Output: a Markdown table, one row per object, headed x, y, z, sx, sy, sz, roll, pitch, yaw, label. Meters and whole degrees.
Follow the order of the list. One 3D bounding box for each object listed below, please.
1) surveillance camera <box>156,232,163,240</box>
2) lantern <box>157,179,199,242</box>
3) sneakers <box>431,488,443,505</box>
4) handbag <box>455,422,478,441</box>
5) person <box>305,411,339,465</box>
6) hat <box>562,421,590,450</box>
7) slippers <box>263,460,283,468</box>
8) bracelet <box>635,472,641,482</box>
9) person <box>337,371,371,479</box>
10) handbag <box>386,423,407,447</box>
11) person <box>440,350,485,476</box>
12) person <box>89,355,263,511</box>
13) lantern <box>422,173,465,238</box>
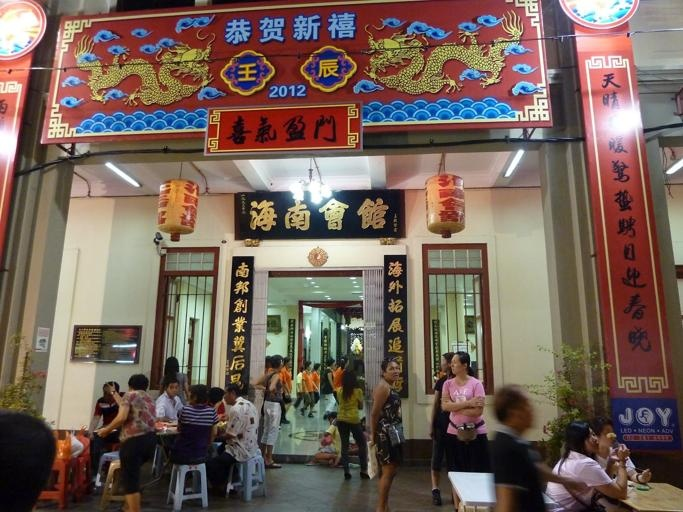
| x | y | z | sx | sy | sz | roll | pitch | yaw | label |
| --- | --- | --- | --- | --- | --- | --- | --- | --- | --- |
| -3.136 | -0.349 | 8.389 | 0.107 | 0.135 | 0.042 | 3 | -3 | -19 | surveillance camera |
| -2.232 | -0.686 | 6.648 | 0.470 | 0.897 | 0.412 | 4 | -16 | -15 | lantern |
| 1.119 | 2.740 | 5.567 | 0.091 | 0.182 | 0.184 | -12 | -19 | 40 | sneakers |
| 1.287 | 1.794 | 4.956 | 0.197 | 0.188 | 0.109 | -3 | -15 | 12 | handbag |
| -0.190 | 2.820 | 7.486 | 0.560 | 0.798 | 0.401 | -4 | -19 | 18 | person |
| 1.758 | 1.353 | 3.695 | 0.197 | 0.189 | 0.179 | -14 | -11 | 38 | hat |
| -0.966 | 3.022 | 7.067 | 0.247 | 0.068 | 0.092 | 0 | -1 | 3 | slippers |
| 2.461 | 1.833 | 4.030 | 0.055 | 0.049 | 0.055 | -2 | 4 | -31 | bracelet |
| 0.154 | 2.277 | 6.671 | 0.409 | 1.436 | 0.852 | 0 | -15 | 0 | person |
| 0.557 | 1.747 | 4.773 | 0.094 | 0.216 | 0.222 | -13 | -19 | 40 | handbag |
| 1.272 | 1.606 | 5.028 | 0.440 | 1.178 | 0.400 | -3 | -16 | 14 | person |
| -1.961 | 2.053 | 5.391 | 1.124 | 1.438 | 1.282 | -1 | -15 | 5 | person |
| 1.379 | -0.680 | 6.397 | 0.487 | 0.782 | 0.418 | -1 | -15 | 6 | lantern |
